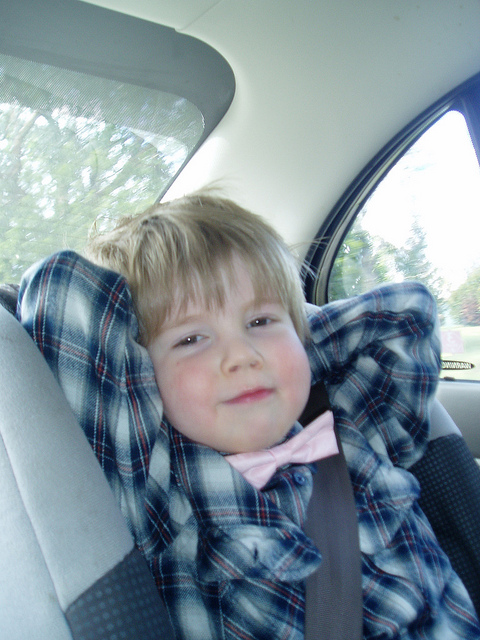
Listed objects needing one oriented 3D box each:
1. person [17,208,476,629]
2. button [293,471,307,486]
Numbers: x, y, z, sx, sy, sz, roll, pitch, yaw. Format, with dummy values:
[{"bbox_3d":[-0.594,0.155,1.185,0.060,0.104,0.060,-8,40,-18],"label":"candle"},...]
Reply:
[{"bbox_3d":[-0.088,0.231,1.059,0.631,0.857,0.314,-17,-26,-37],"label":"person"},{"bbox_3d":[0.106,0.285,0.982,0.017,0.020,0.005,7,-33,-35],"label":"button"}]
